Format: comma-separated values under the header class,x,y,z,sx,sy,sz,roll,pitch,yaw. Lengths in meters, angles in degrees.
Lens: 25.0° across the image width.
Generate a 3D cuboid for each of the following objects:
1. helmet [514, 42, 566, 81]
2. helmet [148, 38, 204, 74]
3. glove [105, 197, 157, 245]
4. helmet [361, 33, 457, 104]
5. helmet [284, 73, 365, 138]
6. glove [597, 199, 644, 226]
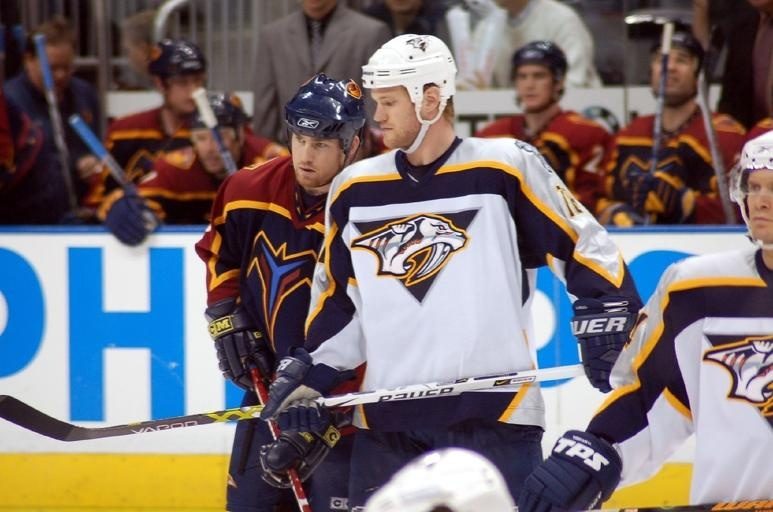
class,x,y,z,sx,sy,sz,roll,pitch,yaw
helmet,0.850,-1.119,9.891,0.345,0.229,0.336,-3,12,14
helmet,-1.153,-1.065,9.421,0.341,0.199,0.138,4,15,23
glove,-1.328,-0.184,9.044,0.272,0.244,0.147,-4,14,-8
helmet,0.098,-0.873,8.194,0.477,0.359,0.360,-13,16,-23
helmet,-0.285,-0.710,8.336,0.284,0.220,0.366,12,25,12
glove,1.271,-0.217,9.618,0.157,0.071,0.204,-28,26,-29
